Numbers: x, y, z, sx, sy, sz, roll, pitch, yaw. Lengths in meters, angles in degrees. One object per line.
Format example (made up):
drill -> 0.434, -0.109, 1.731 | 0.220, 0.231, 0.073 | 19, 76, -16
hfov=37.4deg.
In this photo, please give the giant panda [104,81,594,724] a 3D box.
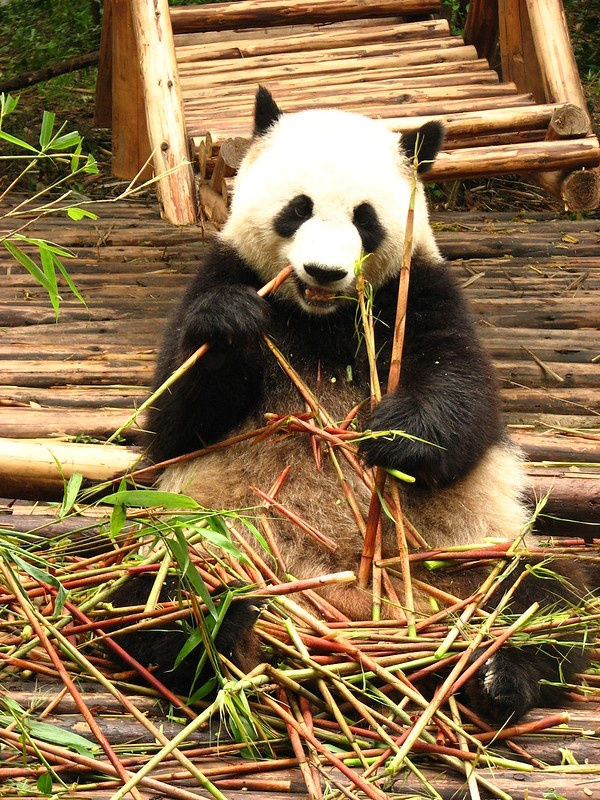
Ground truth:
giant panda -> 0.030, -0.023, 2.677 | 1.621, 1.515, 1.270 | 2, -3, -1
